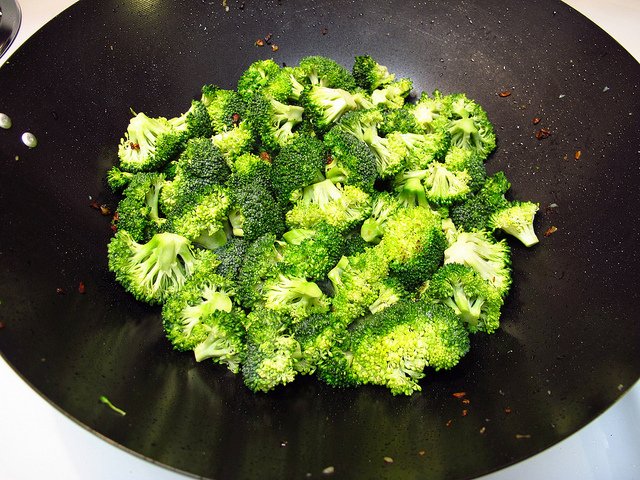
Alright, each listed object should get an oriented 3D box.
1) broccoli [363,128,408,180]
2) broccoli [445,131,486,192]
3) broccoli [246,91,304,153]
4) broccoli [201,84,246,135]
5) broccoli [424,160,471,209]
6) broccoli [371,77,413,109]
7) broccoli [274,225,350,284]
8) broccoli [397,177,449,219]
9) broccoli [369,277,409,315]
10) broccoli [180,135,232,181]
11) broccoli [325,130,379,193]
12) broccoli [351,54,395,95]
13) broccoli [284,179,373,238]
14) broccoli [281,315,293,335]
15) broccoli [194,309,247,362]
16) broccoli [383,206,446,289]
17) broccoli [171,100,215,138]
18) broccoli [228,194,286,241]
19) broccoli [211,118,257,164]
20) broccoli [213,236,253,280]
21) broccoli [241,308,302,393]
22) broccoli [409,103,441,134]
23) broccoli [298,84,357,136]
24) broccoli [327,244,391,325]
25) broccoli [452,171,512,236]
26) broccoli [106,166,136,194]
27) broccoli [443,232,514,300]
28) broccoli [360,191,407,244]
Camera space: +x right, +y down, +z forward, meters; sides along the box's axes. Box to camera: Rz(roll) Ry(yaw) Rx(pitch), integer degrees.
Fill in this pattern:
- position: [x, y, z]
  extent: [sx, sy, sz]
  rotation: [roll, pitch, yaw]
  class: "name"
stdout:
- position: [0.425, -0.594, 3.682]
  extent: [0.301, 0.153, 0.309]
  rotation: [39, 81, 10]
  class: "broccoli"
- position: [0.983, -0.503, 3.814]
  extent: [0.234, 0.178, 0.422]
  rotation: [-8, 72, 2]
  class: "broccoli"
- position: [-0.305, -0.818, 3.801]
  extent: [0.359, 0.199, 0.405]
  rotation: [-25, 108, -9]
  class: "broccoli"
- position: [-0.640, -0.883, 3.863]
  extent: [0.282, 0.122, 0.342]
  rotation: [-36, 78, 8]
  class: "broccoli"
- position: [0.771, -0.385, 3.722]
  extent: [0.343, 0.261, 0.149]
  rotation: [46, 115, 33]
  class: "broccoli"
- position: [0.502, -1.029, 3.928]
  extent: [0.225, 0.100, 0.257]
  rotation: [10, 58, 23]
  class: "broccoli"
- position: [-0.039, 0.076, 3.529]
  extent: [0.361, 0.205, 0.348]
  rotation: [-28, 93, -14]
  class: "broccoli"
- position: [0.633, -0.283, 3.654]
  extent: [0.206, 0.311, 0.173]
  rotation: [2, 115, 15]
  class: "broccoli"
- position: [0.434, 0.363, 3.570]
  extent: [0.239, 0.109, 0.193]
  rotation: [-40, 77, -6]
  class: "broccoli"
- position: [-0.733, -0.527, 3.648]
  extent: [0.233, 0.136, 0.308]
  rotation: [12, 42, -42]
  class: "broccoli"
- position: [0.138, -0.516, 3.651]
  extent: [0.281, 0.275, 0.289]
  rotation: [0, 83, 16]
  class: "broccoli"
- position: [0.369, -1.158, 4.015]
  extent: [0.265, 0.320, 0.205]
  rotation: [-1, 78, -45]
  class: "broccoli"
- position: [-0.069, -0.217, 3.741]
  extent: [0.156, 0.382, 0.328]
  rotation: [26, 101, -23]
  class: "broccoli"
- position: [-0.206, 0.532, 3.497]
  extent: [0.062, 0.039, 0.122]
  rotation: [-4, 92, -25]
  class: "broccoli"
- position: [-0.648, 0.576, 3.545]
  extent: [0.269, 0.291, 0.368]
  rotation: [12, 107, -26]
  class: "broccoli"
- position: [0.594, 0.036, 3.489]
  extent: [0.341, 0.199, 0.504]
  rotation: [5, 88, -1]
  class: "broccoli"
- position: [-0.845, -0.823, 3.832]
  extent: [0.251, 0.142, 0.242]
  rotation: [-5, 92, 26]
  class: "broccoli"
- position: [-0.410, -0.143, 3.671]
  extent: [0.279, 0.157, 0.321]
  rotation: [-3, 86, -1]
  class: "broccoli"
- position: [-0.577, -0.677, 3.757]
  extent: [0.261, 0.131, 0.298]
  rotation: [-3, 86, -4]
  class: "broccoli"
- position: [-0.602, 0.120, 3.675]
  extent: [0.252, 0.300, 0.127]
  rotation: [8, 108, -8]
  class: "broccoli"
- position: [-0.297, 0.690, 3.488]
  extent: [0.306, 0.179, 0.497]
  rotation: [-4, 78, 1]
  class: "broccoli"
- position: [0.743, -0.793, 3.842]
  extent: [0.218, 0.233, 0.064]
  rotation: [-38, 105, -7]
  class: "broccoli"
- position: [0.094, -0.847, 3.759]
  extent: [0.315, 0.133, 0.278]
  rotation: [-36, 103, 25]
  class: "broccoli"
- position: [0.265, 0.301, 3.677]
  extent: [0.465, 0.194, 0.369]
  rotation: [-34, 76, -1]
  class: "broccoli"
- position: [1.059, -0.226, 3.691]
  extent: [0.296, 0.158, 0.456]
  rotation: [13, 99, -5]
  class: "broccoli"
- position: [-1.363, -0.416, 3.850]
  extent: [0.169, 0.136, 0.146]
  rotation: [-16, 106, -22]
  class: "broccoli"
- position: [1.046, 0.194, 3.752]
  extent: [0.389, 0.159, 0.441]
  rotation: [23, 68, -1]
  class: "broccoli"
- position: [0.362, -0.128, 3.660]
  extent: [0.268, 0.184, 0.391]
  rotation: [30, 44, 9]
  class: "broccoli"
